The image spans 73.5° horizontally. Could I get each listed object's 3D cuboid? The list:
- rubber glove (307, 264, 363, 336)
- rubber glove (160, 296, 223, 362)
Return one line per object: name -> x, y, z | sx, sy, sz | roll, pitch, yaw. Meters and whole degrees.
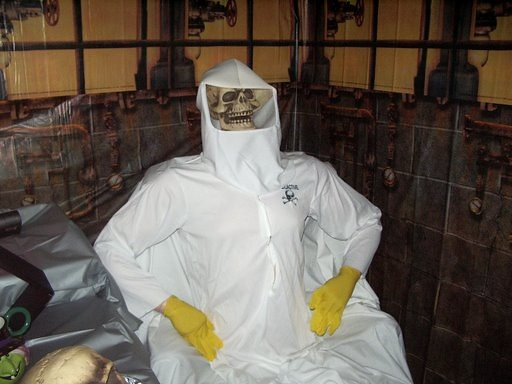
rubber glove -> 0.340, 0.466, 1.552 | 0.149, 0.308, 0.109 | 27, -23, 4
rubber glove -> -0.281, 0.584, 1.473 | 0.305, 0.083, 0.171 | 49, 47, 0
